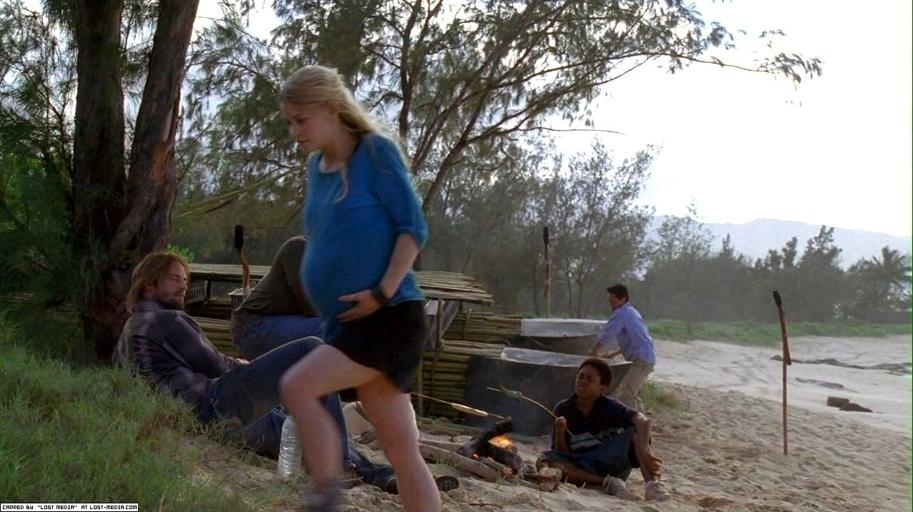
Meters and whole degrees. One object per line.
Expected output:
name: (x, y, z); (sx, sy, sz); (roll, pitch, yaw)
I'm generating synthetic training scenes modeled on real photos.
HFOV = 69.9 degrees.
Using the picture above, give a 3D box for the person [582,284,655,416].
person: (3.736, 2.088, 15.366); (1.261, 2.805, 1.125); (2, -43, 4)

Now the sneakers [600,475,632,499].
sneakers: (2.256, 3.254, 9.195); (0.170, 0.196, 0.429); (1, 2, -38)

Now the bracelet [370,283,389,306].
bracelet: (-0.751, 0.393, 6.404); (0.056, 0.195, 0.194); (-28, -17, -17)
